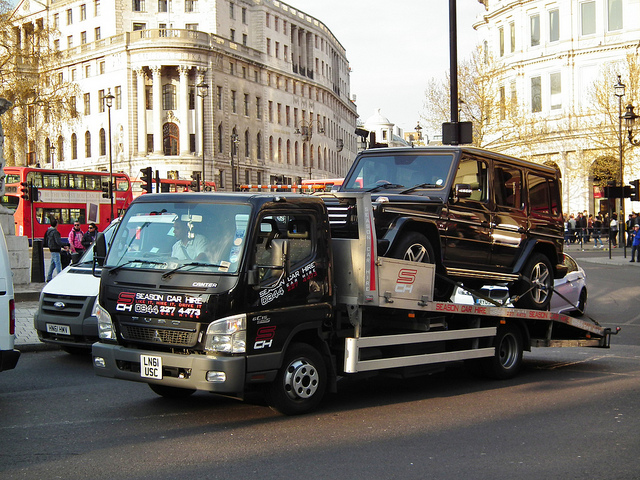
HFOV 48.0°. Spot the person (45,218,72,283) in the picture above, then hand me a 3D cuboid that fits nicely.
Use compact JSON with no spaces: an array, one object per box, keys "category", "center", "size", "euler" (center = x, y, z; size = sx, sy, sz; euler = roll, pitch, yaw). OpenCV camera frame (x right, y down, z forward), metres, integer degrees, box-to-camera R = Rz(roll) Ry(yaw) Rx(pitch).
[{"category":"person","center":[-8.733,0.404,23.935],"size":[0.681,2.077,0.734],"euler":[-5,-5,31]}]

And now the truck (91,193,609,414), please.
[{"category":"truck","center":[0.339,0.766,9.816],"size":[5.822,1.993,2.463],"euler":[1,-2,-43]}]

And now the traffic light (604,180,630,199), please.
[{"category":"traffic light","center":[13.588,-2.468,32.835],"size":[1.145,0.568,0.579],"euler":[0,-1,-33]}]

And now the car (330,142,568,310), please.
[{"category":"car","center":[1.970,-0.165,11.948],"size":[4.729,2.477,2.582],"euler":[5,-2,-37]}]

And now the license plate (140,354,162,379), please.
[{"category":"license plate","center":[-1.954,1.464,8.271],"size":[0.316,0.263,0.027],"euler":[2,3,27]}]

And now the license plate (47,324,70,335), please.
[{"category":"license plate","center":[-4.374,1.495,11.966],"size":[0.493,0.153,0.012],"euler":[2,3,25]}]

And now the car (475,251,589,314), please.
[{"category":"car","center":[3.697,0.777,12.600],"size":[2.442,1.080,1.232],"euler":[7,-8,-41]}]
